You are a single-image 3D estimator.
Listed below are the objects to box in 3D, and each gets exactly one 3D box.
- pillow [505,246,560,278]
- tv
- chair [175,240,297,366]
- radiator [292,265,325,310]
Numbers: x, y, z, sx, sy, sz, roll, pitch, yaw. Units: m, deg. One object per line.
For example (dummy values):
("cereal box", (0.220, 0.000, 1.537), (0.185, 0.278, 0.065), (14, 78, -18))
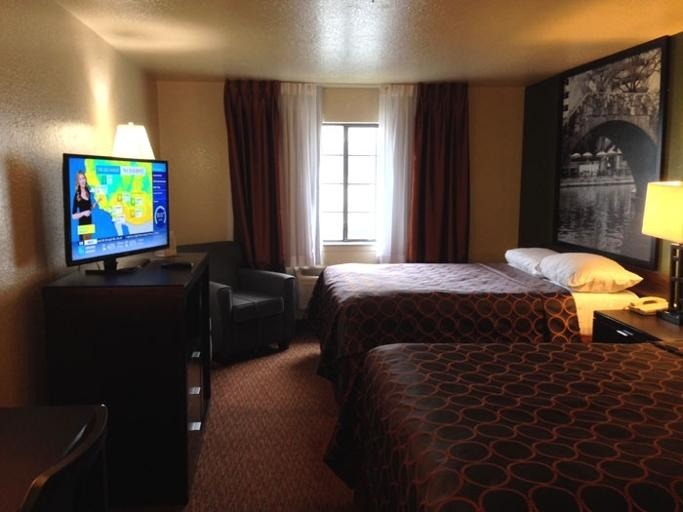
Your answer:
("pillow", (1.801, 0.020, 4.964), (0.265, 0.101, 0.358), (-11, 13, 2))
("tv", (-1.505, -0.306, 3.487), (0.171, 0.675, 0.923), (5, 9, 19))
("chair", (-1.010, 0.395, 5.253), (0.811, 1.001, 0.938), (-8, 8, -38))
("radiator", (-0.358, 0.377, 6.074), (0.400, 0.454, 0.382), (8, 12, 43))
